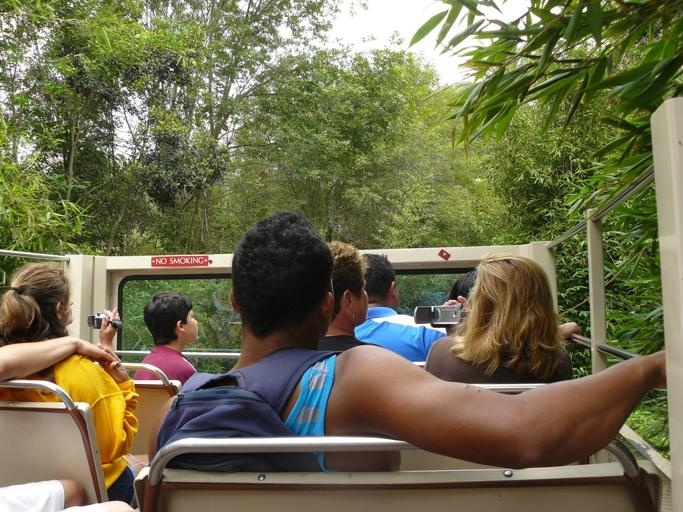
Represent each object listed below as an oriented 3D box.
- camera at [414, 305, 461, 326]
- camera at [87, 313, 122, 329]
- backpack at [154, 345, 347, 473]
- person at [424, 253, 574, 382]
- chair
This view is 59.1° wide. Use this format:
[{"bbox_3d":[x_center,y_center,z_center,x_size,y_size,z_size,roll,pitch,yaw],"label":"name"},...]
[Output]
[{"bbox_3d":[0.516,0.335,3.196,0.162,0.076,0.129,2,-6,-9],"label":"camera"},{"bbox_3d":[-1.470,0.407,3.732,0.218,0.083,0.169,2,-3,-14],"label":"camera"},{"bbox_3d":[-0.266,0.426,1.942,0.551,0.325,0.446,-4,36,7],"label":"backpack"},{"bbox_3d":[0.703,0.330,2.853,0.733,0.802,0.492,2,3,11],"label":"person"},{"bbox_3d":[0.161,0.464,1.788,1.423,0.419,0.532,-2,10,10],"label":"chair"}]
